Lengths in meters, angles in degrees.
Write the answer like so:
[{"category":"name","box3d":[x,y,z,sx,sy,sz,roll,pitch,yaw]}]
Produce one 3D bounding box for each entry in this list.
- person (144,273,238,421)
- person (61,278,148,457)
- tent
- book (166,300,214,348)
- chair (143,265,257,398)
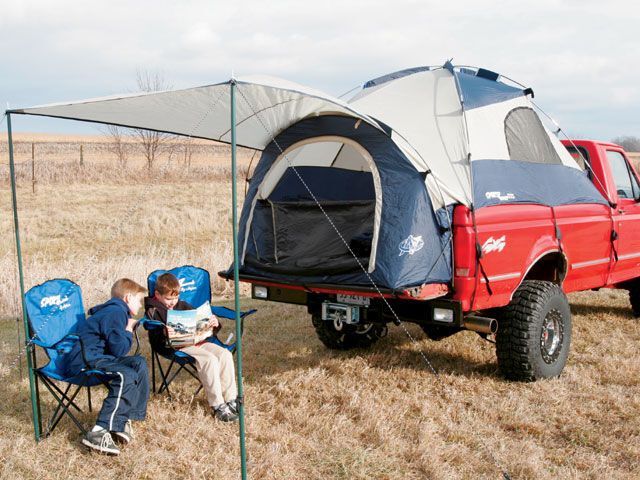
[{"category":"person","box3d":[-1.213,0.985,6.799,1.040,1.275,0.616,3,11,18]},{"category":"person","box3d":[-1.898,1.112,6.257,0.710,1.340,0.863,-4,11,-17]},{"category":"tent","box3d":[1.240,-0.755,7.960,2.313,2.014,3.400,1,2,44]},{"category":"book","box3d":[-1.285,0.785,6.665,0.149,0.263,0.336,-13,-17,32]},{"category":"chair","box3d":[-1.376,1.048,7.206,1.072,1.475,1.226,2,6,40]}]
